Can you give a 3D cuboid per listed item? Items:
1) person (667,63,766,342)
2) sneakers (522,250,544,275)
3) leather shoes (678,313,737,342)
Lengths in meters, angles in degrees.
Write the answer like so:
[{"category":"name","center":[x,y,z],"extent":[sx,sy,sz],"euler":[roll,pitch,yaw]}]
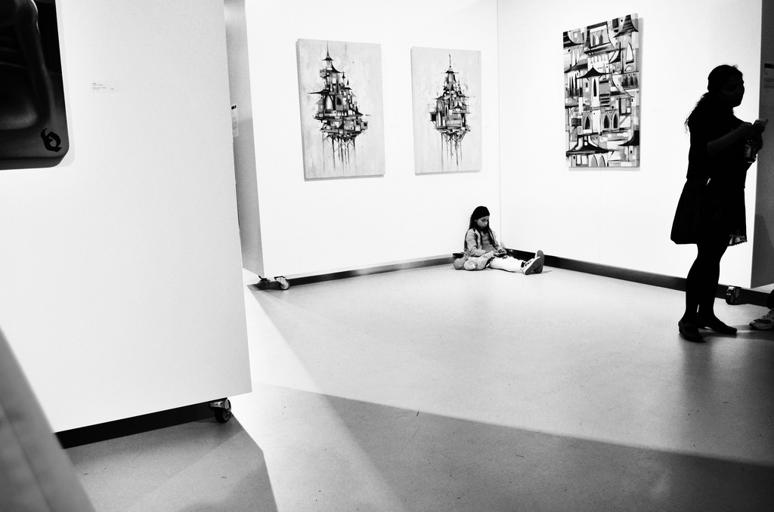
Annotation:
[{"category":"person","center":[2.227,-0.320,3.523],"extent":[0.491,1.861,0.442],"euler":[8,16,39]},{"category":"sneakers","center":[1.686,0.063,5.877],"extent":[0.315,0.256,0.164],"euler":[-7,13,-22]},{"category":"leather shoes","center":[2.305,0.507,3.723],"extent":[0.334,0.132,0.209],"euler":[-3,12,1]}]
